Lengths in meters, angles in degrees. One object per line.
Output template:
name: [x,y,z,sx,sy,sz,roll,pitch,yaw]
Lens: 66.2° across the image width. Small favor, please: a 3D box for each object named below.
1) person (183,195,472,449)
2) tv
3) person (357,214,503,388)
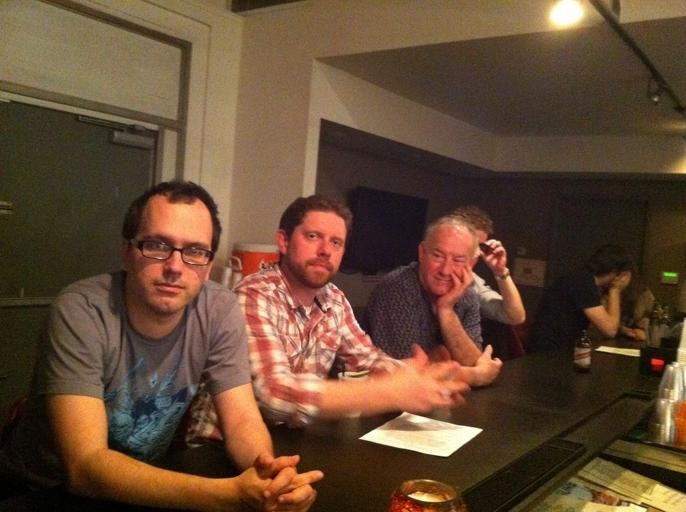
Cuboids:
person: [-0.102,0.236,1.943,0.913,0.697,0.711,-16,-24,31]
tv: [0.277,-0.197,3.803,0.664,0.596,0.092,-7,18,-31]
person: [0.488,0.197,2.283,0.500,0.724,0.689,20,-9,-27]
